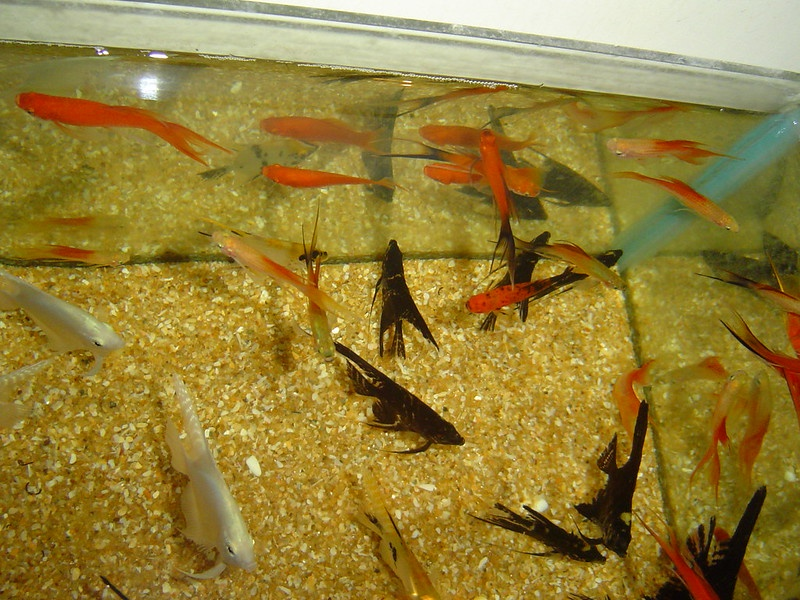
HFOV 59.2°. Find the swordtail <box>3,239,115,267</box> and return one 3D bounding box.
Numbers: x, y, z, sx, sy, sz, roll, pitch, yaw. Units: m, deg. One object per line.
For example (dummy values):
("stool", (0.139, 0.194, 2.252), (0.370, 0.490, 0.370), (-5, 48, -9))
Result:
("swordtail", (-1.440, -0.192, 2.994), (0.455, 0.076, 0.054), (6, 47, -6))
